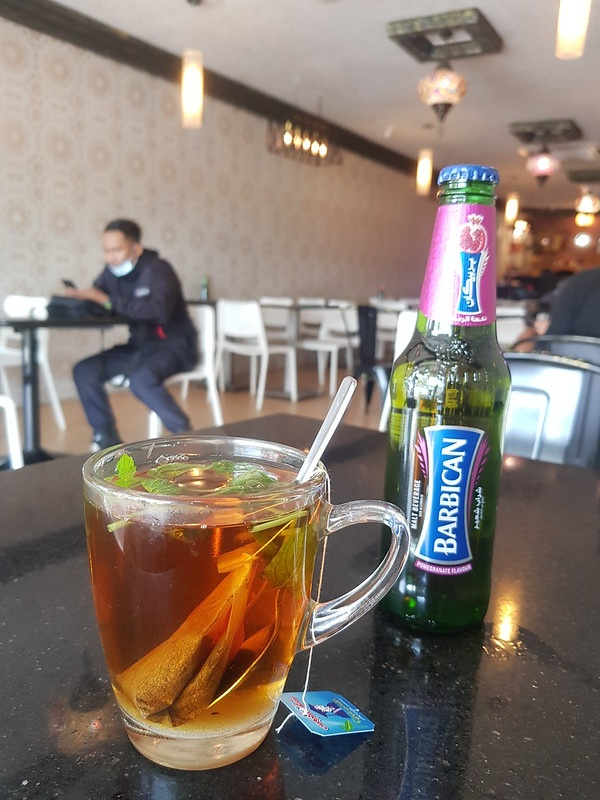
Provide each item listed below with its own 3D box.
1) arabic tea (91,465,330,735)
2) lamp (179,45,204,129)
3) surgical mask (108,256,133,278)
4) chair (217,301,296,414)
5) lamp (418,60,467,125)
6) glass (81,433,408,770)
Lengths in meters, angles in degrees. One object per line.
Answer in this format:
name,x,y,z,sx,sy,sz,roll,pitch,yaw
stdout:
arabic tea,-0.036,0.080,0.312,0.108,0.082,0.084,2,7,-22
lamp,-0.221,-0.634,1.433,0.043,0.138,0.182,1,13,-10
surgical mask,-0.346,-0.251,1.340,0.077,0.036,0.036,14,17,43
chair,-0.183,-0.190,2.889,0.280,0.413,0.268,8,12,33
lamp,0.510,-1.132,2.513,0.153,0.112,0.150,1,13,-9
glass,-0.033,0.081,0.338,0.163,0.133,0.101,1,10,-14
